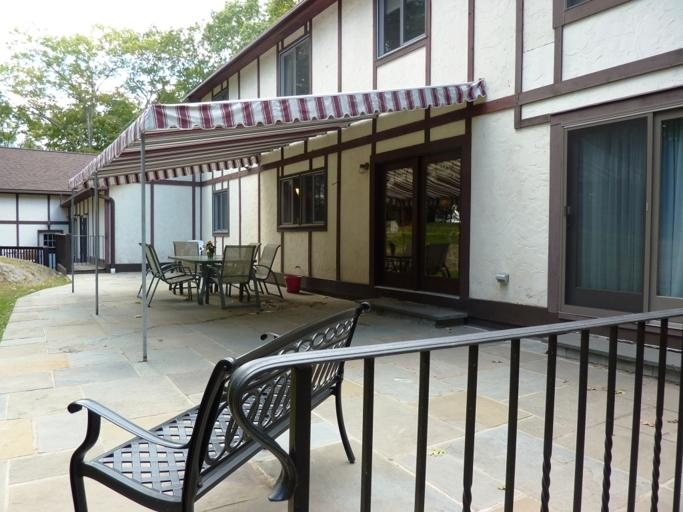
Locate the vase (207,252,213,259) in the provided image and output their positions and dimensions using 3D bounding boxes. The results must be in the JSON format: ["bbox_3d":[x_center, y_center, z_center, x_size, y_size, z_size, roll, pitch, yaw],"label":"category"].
[{"bbox_3d":[-2.245,-0.014,9.595,0.106,0.117,0.107,6,10,27],"label":"vase"}]

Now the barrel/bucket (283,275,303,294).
[{"bbox_3d":[-0.953,0.547,10.899,0.324,0.268,0.318,-2,0,0],"label":"barrel/bucket"}]
